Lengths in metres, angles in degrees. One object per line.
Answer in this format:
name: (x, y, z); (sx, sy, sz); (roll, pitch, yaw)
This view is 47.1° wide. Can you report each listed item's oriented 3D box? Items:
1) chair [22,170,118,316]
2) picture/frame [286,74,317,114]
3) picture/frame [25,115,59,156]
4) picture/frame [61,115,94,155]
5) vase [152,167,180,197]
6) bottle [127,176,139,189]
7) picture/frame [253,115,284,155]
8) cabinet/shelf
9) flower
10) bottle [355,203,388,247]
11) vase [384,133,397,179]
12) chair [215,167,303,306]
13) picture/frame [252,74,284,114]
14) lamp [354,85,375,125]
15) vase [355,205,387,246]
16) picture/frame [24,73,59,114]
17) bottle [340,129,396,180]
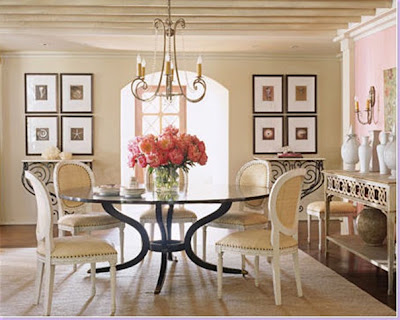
chair: (-1.179, 0.727, 4.211); (0.872, 1.252, 0.601); (0, 9, 1)
picture/frame: (1.572, -1.057, 7.180); (0.556, 0.732, 0.053); (0, 4, 0)
picture/frame: (-2.423, -0.389, 6.994); (0.568, 0.749, 0.028); (0, -2, -3)
picture/frame: (-1.905, -0.388, 7.026); (0.561, 0.744, 0.060); (0, -1, -4)
vase: (-0.372, 0.247, 4.519); (0.283, 0.326, 0.300); (-1, -15, -1)
bottle: (-0.670, 0.226, 4.588); (0.121, 0.192, 0.108); (0, 8, -9)
picture/frame: (1.055, -0.403, 7.158); (0.553, 0.740, 0.051); (0, 3, 3)
cabinet/shelf: (1.688, 0.776, 4.830); (0.398, 0.871, 1.115); (0, 2, -6)
flower: (-0.375, -0.099, 4.609); (0.611, 0.673, 0.630); (-3, 5, -21)
bottle: (1.829, 0.689, 4.873); (0.349, 0.449, 0.368); (7, -4, 1)
vase: (1.872, -0.046, 4.476); (0.112, 0.416, 0.260); (3, 9, 19)
chair: (0.618, 0.658, 4.500); (0.815, 1.243, 0.767); (2, 9, 12)
picture/frame: (1.055, -1.060, 7.157); (0.552, 0.708, 0.055); (0, -2, -3)
lamp: (2.254, -0.744, 6.225); (0.227, 0.546, 0.608); (2, 9, 13)
vase: (1.889, 0.729, 4.999); (0.331, 0.408, 0.342); (-3, -11, 29)
picture/frame: (-2.448, -1.045, 7.004); (0.566, 0.747, 0.030); (0, 5, -2)
bottle: (1.832, -0.052, 4.944); (0.189, 0.395, 0.565); (-5, 7, -29)
